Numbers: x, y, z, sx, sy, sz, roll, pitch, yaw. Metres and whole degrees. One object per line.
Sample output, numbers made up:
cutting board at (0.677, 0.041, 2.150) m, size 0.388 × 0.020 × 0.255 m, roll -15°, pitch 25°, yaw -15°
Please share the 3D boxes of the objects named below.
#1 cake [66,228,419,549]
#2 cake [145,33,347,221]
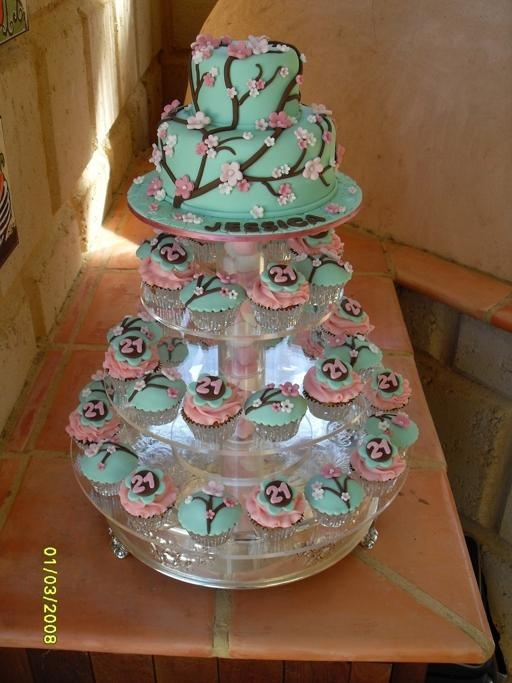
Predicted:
cake at (0.020, 0.162, 1.743) m, size 0.897 × 0.760 × 0.807 m, roll -2°, pitch 40°, yaw -3°
cake at (-0.020, -0.402, 1.337) m, size 0.405 × 0.279 × 0.392 m, roll -24°, pitch 41°, yaw -31°
